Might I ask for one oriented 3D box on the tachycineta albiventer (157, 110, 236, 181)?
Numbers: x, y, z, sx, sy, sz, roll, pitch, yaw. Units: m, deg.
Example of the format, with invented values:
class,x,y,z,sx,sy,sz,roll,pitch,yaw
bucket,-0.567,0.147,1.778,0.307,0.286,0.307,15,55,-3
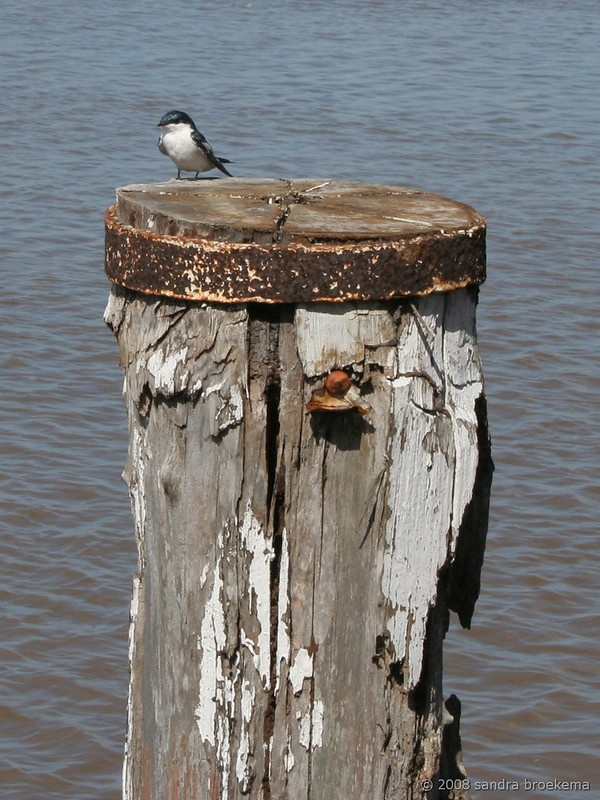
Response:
class,x,y,z,sx,sy,sz,roll,pitch,yaw
tachycineta albiventer,-0.613,-1.459,12.171,0.260,0.432,0.499,5,15,36
